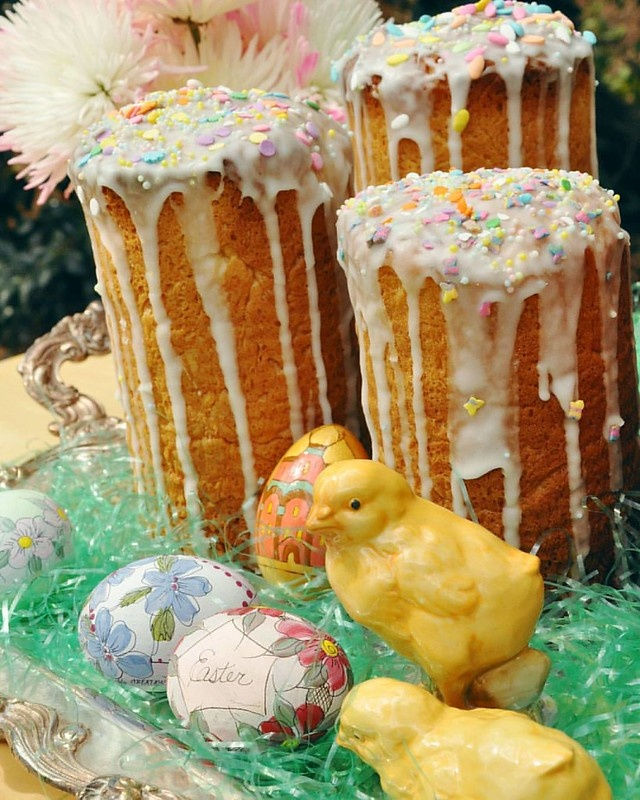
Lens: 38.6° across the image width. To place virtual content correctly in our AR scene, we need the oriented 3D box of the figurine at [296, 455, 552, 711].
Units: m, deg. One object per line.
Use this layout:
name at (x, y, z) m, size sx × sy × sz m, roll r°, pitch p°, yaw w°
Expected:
figurine at (0.088, 0.148, 0.699) m, size 0.145 × 0.209 × 0.100 m, roll 8°, pitch 25°, yaw 39°

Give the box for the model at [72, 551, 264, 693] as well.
model at (-0.166, 0.187, 0.893) m, size 0.178 × 0.105 × 0.207 m, roll 8°, pitch 1°, yaw 6°

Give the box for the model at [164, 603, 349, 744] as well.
model at (-0.051, 0.217, 0.721) m, size 0.151 × 0.079 × 0.095 m, roll 0°, pitch -10°, yaw 4°
